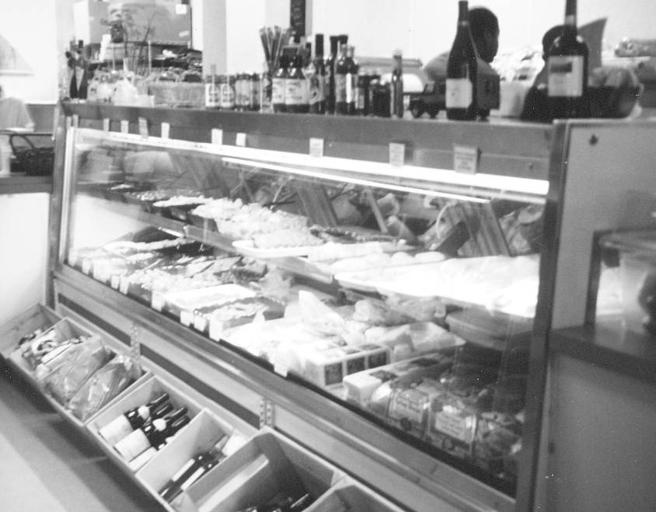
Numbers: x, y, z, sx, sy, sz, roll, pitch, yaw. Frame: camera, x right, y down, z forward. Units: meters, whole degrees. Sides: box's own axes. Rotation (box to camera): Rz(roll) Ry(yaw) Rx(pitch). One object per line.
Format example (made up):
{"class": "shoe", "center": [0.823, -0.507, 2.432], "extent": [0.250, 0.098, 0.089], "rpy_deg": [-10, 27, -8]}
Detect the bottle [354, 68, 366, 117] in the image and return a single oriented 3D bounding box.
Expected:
{"class": "bottle", "center": [0.123, -0.574, 1.953], "extent": [0.034, 0.135, 0.054], "rpy_deg": [-4, 19, -7]}

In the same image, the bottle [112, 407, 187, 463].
{"class": "bottle", "center": [-0.810, 0.823, 2.480], "extent": [0.320, 0.102, 0.099], "rpy_deg": [-33, 35, -15]}

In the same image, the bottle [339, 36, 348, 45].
{"class": "bottle", "center": [0.062, -0.825, 2.107], "extent": [0.036, 0.039, 0.042], "rpy_deg": [0, 8, 4]}
